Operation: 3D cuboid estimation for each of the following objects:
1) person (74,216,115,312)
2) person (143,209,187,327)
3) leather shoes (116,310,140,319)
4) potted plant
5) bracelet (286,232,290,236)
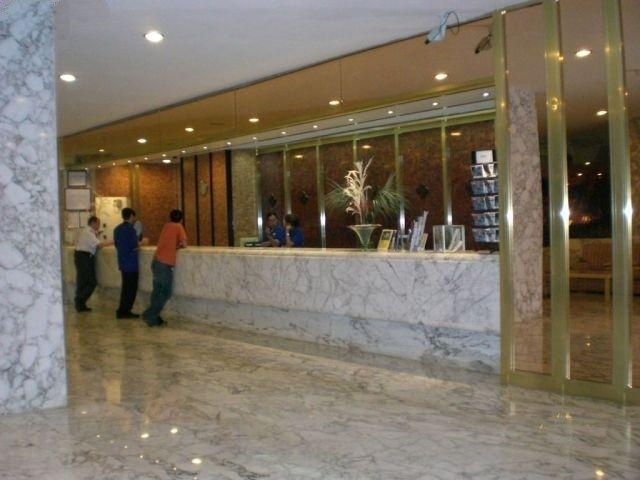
[{"bbox_3d":[-4.234,0.440,8.902,0.614,1.723,0.948,-3,5,-18],"label":"person"},{"bbox_3d":[-2.397,0.431,7.376,0.677,1.740,0.341,-3,5,-19],"label":"person"},{"bbox_3d":[-3.198,1.263,8.012,0.420,0.169,0.141,1,0,-21],"label":"leather shoes"},{"bbox_3d":[0.670,-0.506,6.784,1.133,1.229,1.138,0,-4,6],"label":"potted plant"},{"bbox_3d":[-0.491,-0.083,7.334,0.038,0.055,0.052,-2,-5,5],"label":"bracelet"}]
